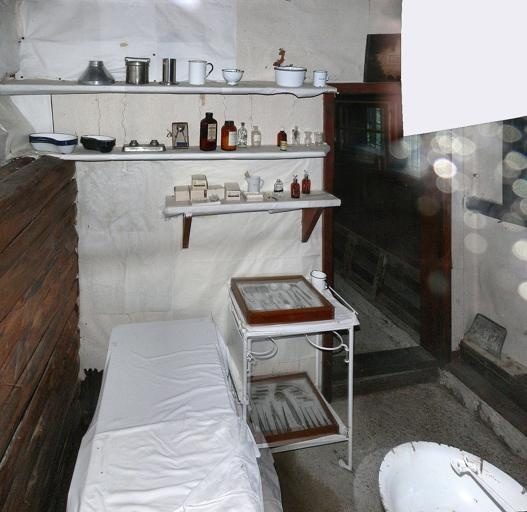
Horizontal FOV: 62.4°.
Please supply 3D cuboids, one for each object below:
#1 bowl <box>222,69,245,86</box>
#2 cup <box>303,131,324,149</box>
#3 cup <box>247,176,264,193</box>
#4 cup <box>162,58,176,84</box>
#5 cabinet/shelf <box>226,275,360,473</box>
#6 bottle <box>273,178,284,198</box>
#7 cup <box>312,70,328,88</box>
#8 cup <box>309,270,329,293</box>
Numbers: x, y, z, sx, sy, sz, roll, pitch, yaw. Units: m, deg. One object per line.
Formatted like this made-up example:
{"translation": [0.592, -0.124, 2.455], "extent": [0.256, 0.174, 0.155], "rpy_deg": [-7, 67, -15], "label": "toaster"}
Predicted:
{"translation": [-0.172, -0.981, 2.427], "extent": [0.092, 0.074, 0.104], "rpy_deg": [-1, 26, -2], "label": "bowl"}
{"translation": [0.314, -0.735, 2.728], "extent": [0.105, 0.125, 0.115], "rpy_deg": [1, 25, 0], "label": "cup"}
{"translation": [-0.054, -0.429, 2.674], "extent": [0.100, 0.107, 0.087], "rpy_deg": [0, 27, -6], "label": "cup"}
{"translation": [-0.512, -0.981, 2.348], "extent": [0.079, 0.154, 0.153], "rpy_deg": [-4, 0, -12], "label": "cup"}
{"translation": [0.205, 0.648, 3.065], "extent": [0.878, 1.312, 1.162], "rpy_deg": [-2, 11, -13], "label": "cabinet/shelf"}
{"translation": [0.087, -0.428, 2.718], "extent": [0.078, 0.148, 0.091], "rpy_deg": [-5, 18, -14], "label": "bottle"}
{"translation": [0.323, -1.014, 2.490], "extent": [0.073, 0.105, 0.099], "rpy_deg": [-1, 14, 1], "label": "cup"}
{"translation": [0.354, 0.158, 2.793], "extent": [0.082, 0.143, 0.126], "rpy_deg": [-7, 12, -36], "label": "cup"}
